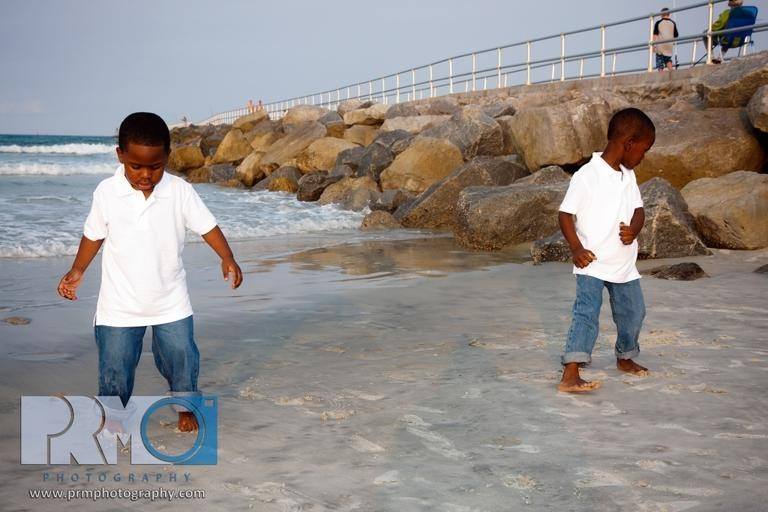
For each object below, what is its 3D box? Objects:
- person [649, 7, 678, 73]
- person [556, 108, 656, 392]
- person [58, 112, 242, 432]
[{"bbox_3d":[5.573,-4.348,15.683,0.472,1.258,2.187,4,13,18],"label":"person"},{"bbox_3d":[1.561,-0.048,5.595,0.608,1.976,0.870,9,17,34],"label":"person"},{"bbox_3d":[-1.488,0.041,4.951,1.055,1.865,0.489,-6,15,-18],"label":"person"}]
